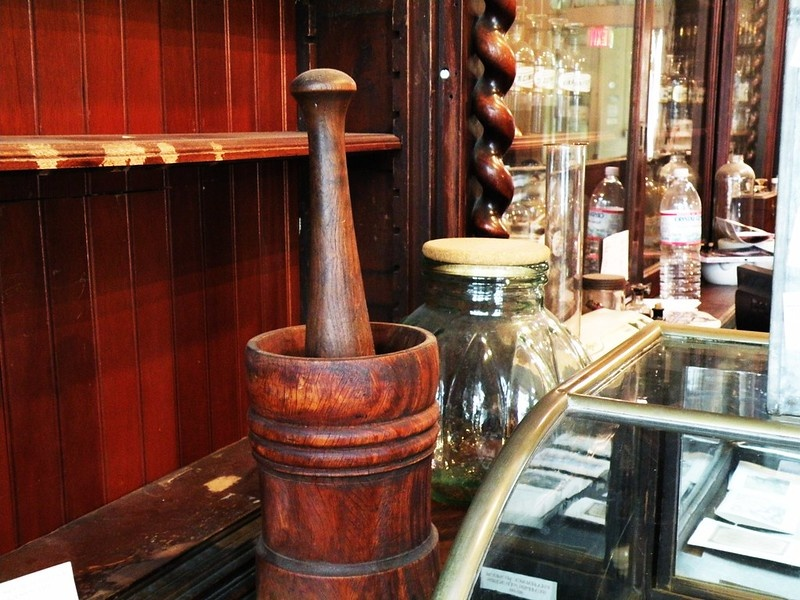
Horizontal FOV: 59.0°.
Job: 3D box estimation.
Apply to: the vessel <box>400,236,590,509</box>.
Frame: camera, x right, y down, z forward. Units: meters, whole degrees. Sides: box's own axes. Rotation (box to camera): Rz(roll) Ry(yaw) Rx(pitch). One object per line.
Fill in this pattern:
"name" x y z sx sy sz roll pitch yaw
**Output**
"vessel" 0.151 0.120 1.121 0.319 0.369 0.328 -3 -6 -35
